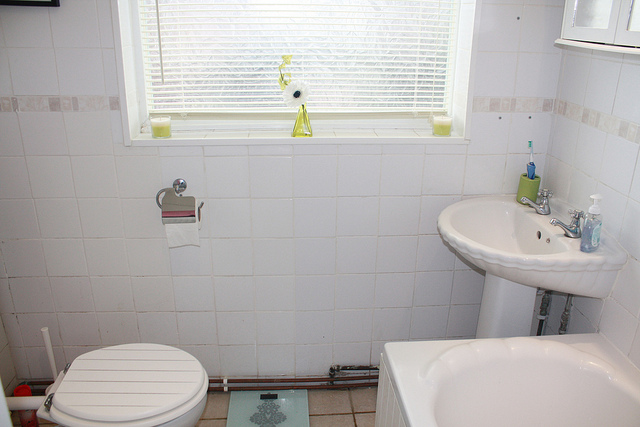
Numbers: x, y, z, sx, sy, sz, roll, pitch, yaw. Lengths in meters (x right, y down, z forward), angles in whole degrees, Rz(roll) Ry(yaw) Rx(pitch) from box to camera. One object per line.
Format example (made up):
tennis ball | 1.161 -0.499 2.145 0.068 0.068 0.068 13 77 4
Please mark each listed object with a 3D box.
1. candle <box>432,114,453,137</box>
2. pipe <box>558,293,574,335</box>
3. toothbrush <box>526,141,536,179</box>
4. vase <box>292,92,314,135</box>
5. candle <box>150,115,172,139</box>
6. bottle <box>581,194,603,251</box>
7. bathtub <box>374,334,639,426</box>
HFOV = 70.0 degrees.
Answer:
candle | 0.683 -0.504 2.633 0.128 0.137 0.129 0 23 1
pipe | 1.252 0.512 2.331 0.080 0.223 0.149 -7 -3 27
toothbrush | 1.166 -0.302 2.541 0.049 0.223 0.142 -7 -3 25
vase | -0.101 -0.542 2.578 0.133 0.253 0.137 -1 2 22
candle | -0.872 -0.481 2.549 0.118 0.127 0.123 24 32 39
bottle | 1.263 0.042 2.123 0.099 0.286 0.134 -7 -3 35
bathtub | 0.849 0.743 1.966 1.084 0.421 0.346 -6 -3 -6
